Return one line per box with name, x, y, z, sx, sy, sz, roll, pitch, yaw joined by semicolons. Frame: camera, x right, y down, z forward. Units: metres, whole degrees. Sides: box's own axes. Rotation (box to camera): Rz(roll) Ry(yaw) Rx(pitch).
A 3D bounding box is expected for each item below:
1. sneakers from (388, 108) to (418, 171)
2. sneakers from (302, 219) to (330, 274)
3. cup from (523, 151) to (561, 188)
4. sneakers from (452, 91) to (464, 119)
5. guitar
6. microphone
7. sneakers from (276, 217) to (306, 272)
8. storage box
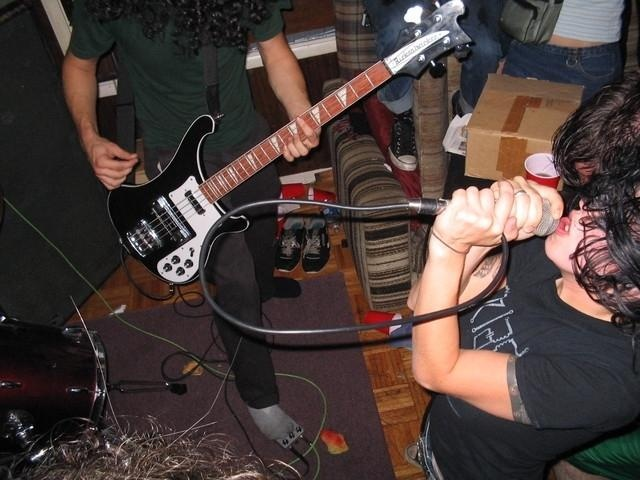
sneakers;0.418;-0.516;2.758;0.104;0.125;0.317;-4;61;4
sneakers;-0.022;0.027;3.156;0.148;0.146;0.397;-2;43;11
cup;0.812;-0.256;1.971;0.133;0.137;0.134;-14;46;15
sneakers;0.673;-0.659;2.649;0.037;0.049;0.124;-1;73;17
guitar;-0.131;-0.447;2.388;1.584;0.528;0.225;-36;21;4
microphone;0.444;-0.060;1.460;0.411;0.144;0.070;-4;47;-1
sneakers;-0.168;0.016;3.137;0.115;0.119;0.330;2;51;5
storage box;0.837;-0.422;2.283;0.443;0.279;0.453;7;54;21
